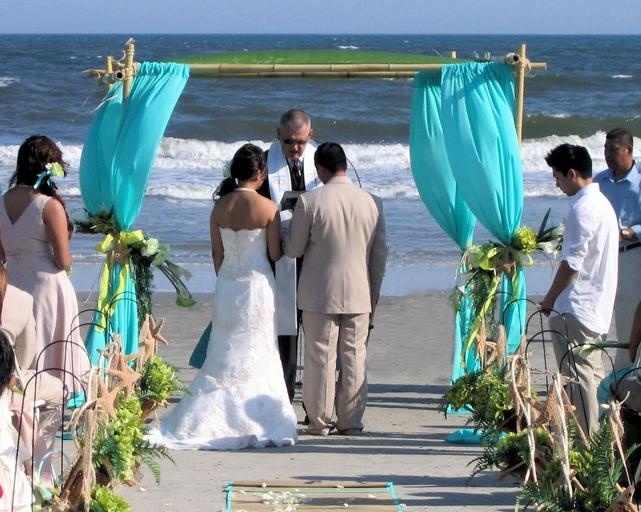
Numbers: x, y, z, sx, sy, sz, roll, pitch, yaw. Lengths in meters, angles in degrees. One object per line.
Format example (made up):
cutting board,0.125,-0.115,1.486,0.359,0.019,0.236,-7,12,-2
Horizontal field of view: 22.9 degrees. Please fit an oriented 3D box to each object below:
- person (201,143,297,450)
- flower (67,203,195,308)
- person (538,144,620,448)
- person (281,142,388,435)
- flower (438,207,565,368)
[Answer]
person,-0.755,0.389,15.451,0.931,2.850,0.888,-1,14,-5
flower,-1.915,-0.033,16.125,0.806,0.458,1.232,4,-23,47
person,2.423,0.312,14.921,0.695,2.641,0.944,3,14,10
person,0.140,0.339,15.720,0.968,2.857,0.623,0,14,1
flower,1.851,0.411,16.291,0.947,1.728,0.673,-4,28,-7
